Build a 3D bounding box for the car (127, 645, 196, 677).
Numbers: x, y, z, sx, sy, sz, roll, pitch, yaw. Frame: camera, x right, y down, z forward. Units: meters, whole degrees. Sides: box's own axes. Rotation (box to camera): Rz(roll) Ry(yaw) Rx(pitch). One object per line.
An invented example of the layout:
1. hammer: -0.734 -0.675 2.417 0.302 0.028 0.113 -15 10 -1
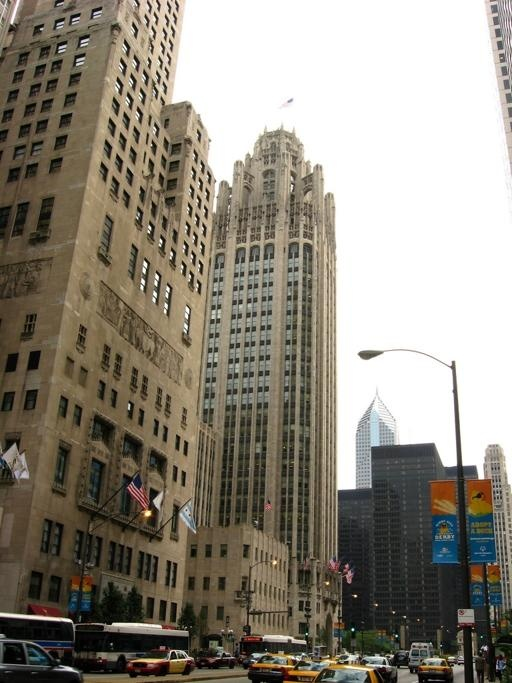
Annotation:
1. car: -5.270 18.131 32.176 2.228 1.292 6.823 -1 -28 7
